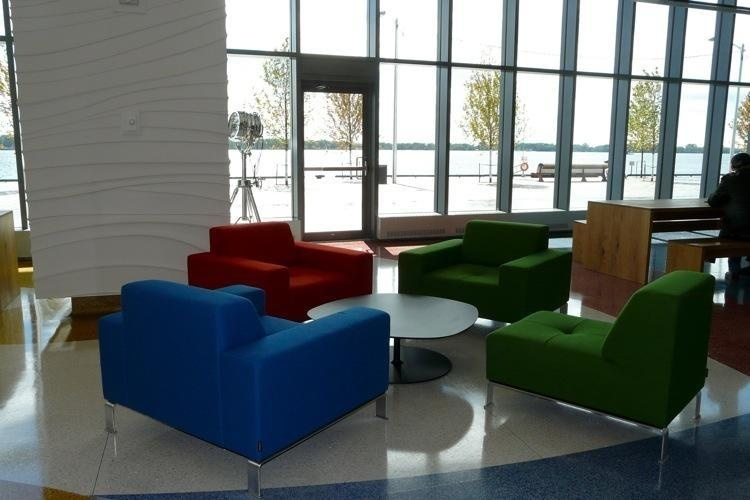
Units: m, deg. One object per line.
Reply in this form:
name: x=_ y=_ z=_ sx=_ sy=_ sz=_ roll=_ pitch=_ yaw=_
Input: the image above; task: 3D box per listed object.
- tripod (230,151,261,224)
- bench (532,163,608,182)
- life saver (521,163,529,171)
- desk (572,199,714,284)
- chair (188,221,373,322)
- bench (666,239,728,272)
tripod: x=-1.888 y=-0.904 z=8.643 sx=0.389 sy=1.058 sz=1.085 roll=-2 pitch=10 yaw=-12
bench: x=3.644 y=-1.435 z=11.021 sx=1.591 sy=0.339 sz=0.199 roll=-3 pitch=11 yaw=-21
life saver: x=2.702 y=-1.491 z=10.676 sx=0.164 sy=0.144 sz=0.036 roll=12 pitch=-1 yaw=-12
desk: x=3.450 y=-0.180 z=7.901 sx=1.500 sy=0.653 sz=1.321 roll=-5 pitch=8 yaw=-29
chair: x=-0.921 y=0.161 z=5.910 sx=1.283 sy=0.748 sz=1.340 roll=5 pitch=7 yaw=42
bench: x=3.993 y=0.089 z=7.327 sx=0.656 sy=0.382 sz=0.538 roll=-5 pitch=11 yaw=-27
